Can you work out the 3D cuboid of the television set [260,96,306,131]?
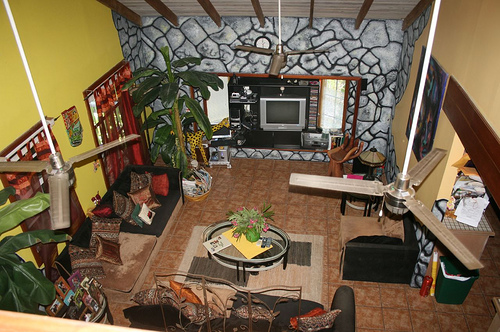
[{"bbox_3d":[0.915,-1.500,9.059,1.280,1.062,0.732,0,34,2],"label":"television set"}]

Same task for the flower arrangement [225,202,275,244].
[{"bbox_3d":[0.041,1.193,6.389,0.888,0.649,0.855,-2,2,37],"label":"flower arrangement"}]

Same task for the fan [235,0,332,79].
[{"bbox_3d":[0.466,-2.213,5.383,1.060,1.131,1.170,-29,55,-29],"label":"fan"}]

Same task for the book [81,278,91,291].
[{"bbox_3d":[-2.600,1.882,5.166,0.042,0.151,0.159,0,12,-42],"label":"book"}]

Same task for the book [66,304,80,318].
[{"bbox_3d":[-2.681,2.213,4.930,0.035,0.156,0.141,-6,51,39],"label":"book"}]

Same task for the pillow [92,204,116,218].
[{"bbox_3d":[-2.941,0.941,6.578,0.277,0.132,0.323,-2,9,-19],"label":"pillow"}]

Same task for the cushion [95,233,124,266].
[{"bbox_3d":[-2.660,1.597,6.086,0.151,0.610,0.514,-23,54,17],"label":"cushion"}]

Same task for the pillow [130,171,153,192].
[{"bbox_3d":[-2.442,0.345,7.365,0.454,0.102,0.425,-12,62,-15],"label":"pillow"}]

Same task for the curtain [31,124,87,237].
[{"bbox_3d":[-3.445,0.515,6.014,0.805,2.753,0.202,-20,64,-38],"label":"curtain"}]

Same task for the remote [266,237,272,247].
[{"bbox_3d":[0.370,1.477,6.299,0.059,0.080,0.186,8,63,7],"label":"remote"}]

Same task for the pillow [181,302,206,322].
[{"bbox_3d":[-0.833,2.138,4.783,0.335,0.264,0.203,-7,23,-16],"label":"pillow"}]

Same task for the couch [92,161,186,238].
[{"bbox_3d":[-2.430,1.019,7.137,1.424,1.224,2.030,8,34,2],"label":"couch"}]

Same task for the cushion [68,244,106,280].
[{"bbox_3d":[-2.907,1.730,5.789,0.494,0.560,0.071,-21,3,-21],"label":"cushion"}]

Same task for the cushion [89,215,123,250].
[{"bbox_3d":[-2.754,1.221,6.254,0.529,0.638,0.646,2,20,-3],"label":"cushion"}]

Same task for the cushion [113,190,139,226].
[{"bbox_3d":[-2.571,0.907,6.927,0.691,0.633,0.181,11,-1,25],"label":"cushion"}]

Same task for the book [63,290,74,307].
[{"bbox_3d":[-2.764,2.026,4.973,0.034,0.169,0.168,-2,46,42],"label":"book"}]

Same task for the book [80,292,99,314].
[{"bbox_3d":[-2.502,2.189,5.181,0.182,0.347,0.078,14,47,34],"label":"book"}]

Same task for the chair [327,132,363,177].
[{"bbox_3d":[2.502,-0.476,8.347,0.719,1.087,0.680,-7,28,0],"label":"chair"}]

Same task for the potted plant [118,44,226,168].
[{"bbox_3d":[-1.968,-1.251,8.185,2.214,3.335,2.480,-9,24,-20],"label":"potted plant"}]
